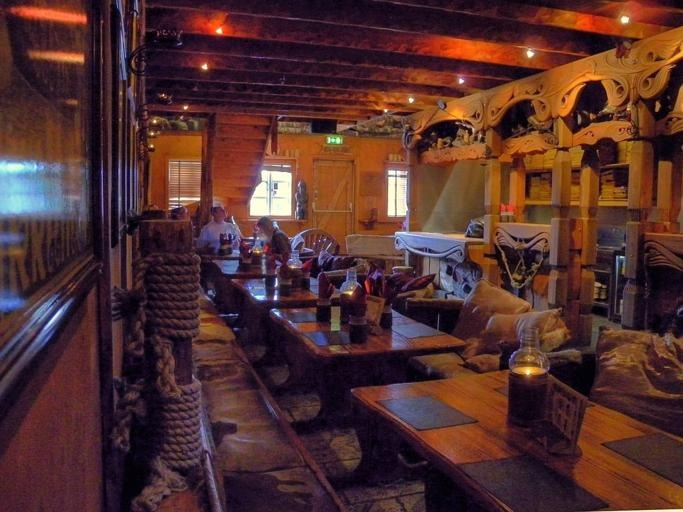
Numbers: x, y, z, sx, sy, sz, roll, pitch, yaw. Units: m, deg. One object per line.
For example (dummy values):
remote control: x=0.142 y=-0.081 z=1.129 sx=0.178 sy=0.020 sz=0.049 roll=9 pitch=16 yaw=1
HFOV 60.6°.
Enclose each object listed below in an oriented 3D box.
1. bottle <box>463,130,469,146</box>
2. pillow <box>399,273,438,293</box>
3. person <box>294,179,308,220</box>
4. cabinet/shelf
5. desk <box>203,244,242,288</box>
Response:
bottle: x=1.546 y=-1.477 z=7.235 sx=0.074 sy=0.160 sz=0.138 roll=2 pitch=6 yaw=12
pillow: x=0.488 y=0.181 z=3.762 sx=0.172 sy=0.052 sz=0.172 roll=-21 pitch=-4 yaw=-2
person: x=-0.858 y=-1.206 z=12.536 sx=0.291 sy=0.848 sz=0.280 roll=0 pitch=5 yaw=-6
cabinet/shelf: x=2.763 y=-0.864 z=6.963 sx=1.208 sy=0.985 sz=3.398 roll=3 pitch=6 yaw=19
desk: x=-1.380 y=0.062 z=6.860 sx=0.368 sy=0.329 sz=0.519 roll=21 pitch=-18 yaw=-39
